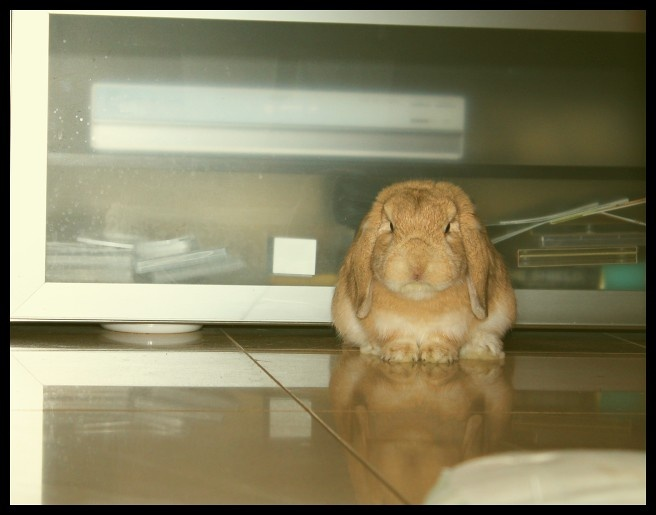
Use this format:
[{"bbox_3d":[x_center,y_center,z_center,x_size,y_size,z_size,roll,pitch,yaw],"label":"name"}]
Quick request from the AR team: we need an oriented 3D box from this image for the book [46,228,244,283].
[{"bbox_3d":[-0.673,0.004,2.704,0.714,0.169,0.036,1,4,-7],"label":"book"}]

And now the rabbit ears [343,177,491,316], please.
[{"bbox_3d":[0.267,-0.027,2.097,0.401,0.287,0.407,0,-1,4],"label":"rabbit ears"}]
